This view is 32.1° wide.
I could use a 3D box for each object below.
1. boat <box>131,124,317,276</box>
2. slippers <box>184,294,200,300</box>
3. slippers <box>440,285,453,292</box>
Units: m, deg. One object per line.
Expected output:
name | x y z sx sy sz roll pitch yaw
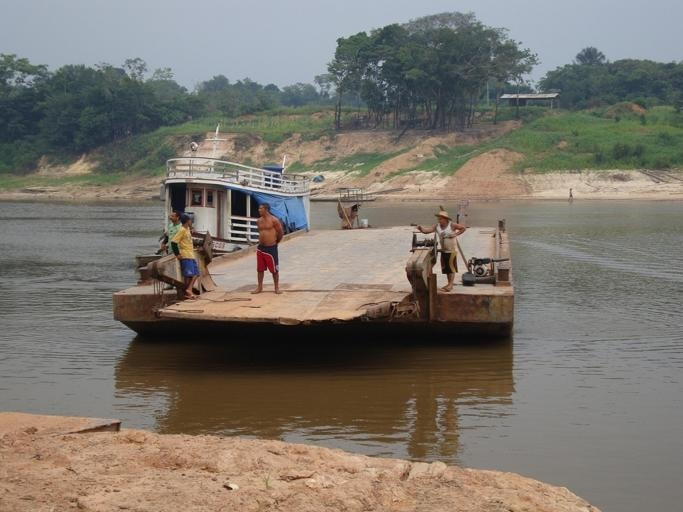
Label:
boat | -5.858 -2.313 49.356 4.147 5.001 10.390 -2 -3 23
slippers | -4.643 1.303 37.316 0.424 0.102 0.160 4 -9 -4
slippers | 3.381 1.016 37.534 0.364 0.191 0.504 -1 4 9
